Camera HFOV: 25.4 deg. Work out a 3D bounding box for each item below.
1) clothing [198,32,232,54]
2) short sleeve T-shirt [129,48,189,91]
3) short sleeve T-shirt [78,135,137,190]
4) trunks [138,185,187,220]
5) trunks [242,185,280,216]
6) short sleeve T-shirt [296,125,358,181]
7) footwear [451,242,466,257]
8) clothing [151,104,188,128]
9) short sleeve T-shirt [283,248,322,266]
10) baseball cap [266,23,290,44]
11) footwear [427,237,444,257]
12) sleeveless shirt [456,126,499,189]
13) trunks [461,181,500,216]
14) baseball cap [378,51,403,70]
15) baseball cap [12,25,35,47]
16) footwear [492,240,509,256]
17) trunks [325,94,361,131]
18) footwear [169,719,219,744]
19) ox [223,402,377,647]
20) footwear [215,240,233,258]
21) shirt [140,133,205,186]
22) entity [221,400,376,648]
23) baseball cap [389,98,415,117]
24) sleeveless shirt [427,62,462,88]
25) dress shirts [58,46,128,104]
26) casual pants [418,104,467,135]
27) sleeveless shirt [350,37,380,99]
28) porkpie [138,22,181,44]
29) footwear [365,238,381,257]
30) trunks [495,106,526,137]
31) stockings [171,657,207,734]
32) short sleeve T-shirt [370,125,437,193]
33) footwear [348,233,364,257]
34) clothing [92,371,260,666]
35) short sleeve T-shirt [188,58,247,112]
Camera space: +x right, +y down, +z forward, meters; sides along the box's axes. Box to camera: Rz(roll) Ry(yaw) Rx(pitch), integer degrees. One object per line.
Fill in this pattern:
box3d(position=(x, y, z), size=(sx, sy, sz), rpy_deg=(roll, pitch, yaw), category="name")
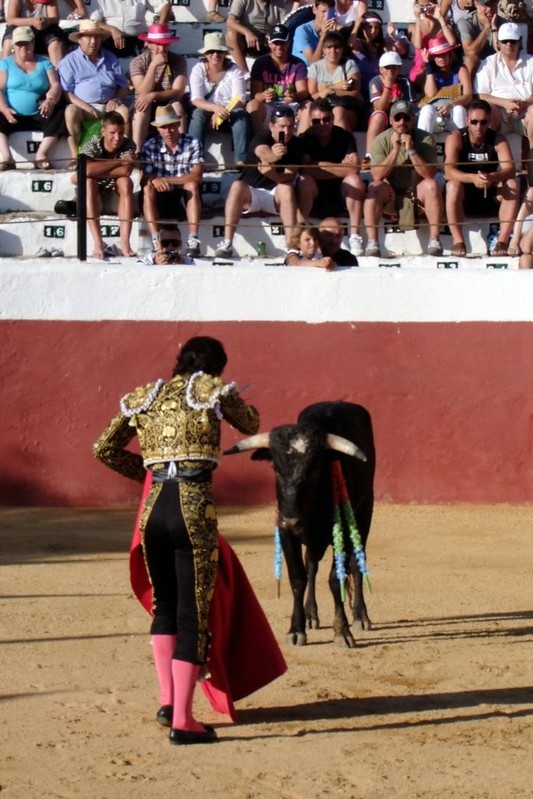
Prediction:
box3d(position=(-0.503, -3.428, 11.309), size=(0.282, 0.166, 0.306), rpy_deg=(1, 1, 6), category="clothing")
box3d(position=(-1.042, -3.172, 11.445), size=(0.598, 0.572, 0.283), rpy_deg=(3, 31, -3), category="short sleeve T-shirt")
box3d(position=(-1.310, -1.992, 9.929), size=(0.470, 0.470, 0.461), rpy_deg=(0, 2, -4), category="short sleeve T-shirt")
box3d(position=(-0.856, -1.649, 9.869), size=(0.300, 0.295, 0.107), rpy_deg=(0, 31, -1), category="trunks")
box3d(position=(-0.032, -1.694, 10.134), size=(0.256, 0.254, 0.105), rpy_deg=(-2, 51, -4), category="trunks")
box3d(position=(0.509, -2.077, 10.064), size=(0.562, 0.525, 0.297), rpy_deg=(0, -5, -9), category="short sleeve T-shirt")
box3d(position=(1.640, -1.290, 10.125), size=(0.128, 0.132, 0.180), rpy_deg=(3, 8, 6), category="footwear")
box3d(position=(-0.845, -2.397, 10.040), size=(0.197, 0.215, 0.334), rpy_deg=(0, 8, -12), category="clothing")
box3d(position=(0.288, -1.112, 9.305), size=(0.287, 0.124, 0.341), rpy_deg=(2, 8, 2), category="short sleeve T-shirt")
box3d(position=(0.114, -3.484, 11.296), size=(0.249, 0.179, 0.403), rpy_deg=(0, 14, -3), category="baseball cap")
box3d(position=(1.433, -1.294, 10.084), size=(0.127, 0.150, 0.205), rpy_deg=(3, 8, 8), category="footwear")
box3d(position=(1.800, -2.117, 10.077), size=(0.344, 0.388, 0.390), rpy_deg=(3, 8, 11), category="sleeveless shirt")
box3d(position=(1.856, -1.732, 10.305), size=(0.256, 0.254, 0.093), rpy_deg=(-2, 12, -3), category="trunks")
box3d(position=(1.155, -3.181, 11.114), size=(0.172, 0.121, 0.234), rpy_deg=(-1, -7, 4), category="baseball cap")
box3d(position=(-2.306, -3.450, 11.259), size=(0.165, 0.122, 0.234), rpy_deg=(-3, 1, -2), category="baseball cap")
box3d(position=(1.990, -1.285, 10.074), size=(0.110, 0.104, 0.131), rpy_deg=(1, -9, 10), category="footwear")
box3d(position=(0.721, -2.676, 11.159), size=(0.320, 0.412, 0.194), rpy_deg=(0, 5, -24), category="trunks")
box3d(position=(-0.258, 1.183, 4.275), size=(0.149, 0.052, 0.080), rpy_deg=(-1, -1, -22), category="footwear")
box3d(position=(0.302, 0.632, 5.752), size=(0.617, 1.044, 1.548), rpy_deg=(1, 0, 12), category="ox")
box3d(position=(-0.357, -1.236, 9.723), size=(0.082, 0.095, 0.208), rpy_deg=(3, 1, 4), category="footwear")
box3d(position=(-0.778, -2.019, 10.072), size=(0.617, 0.592, 0.333), rpy_deg=(0, -6, -1), category="shirt")
box3d(position=(0.265, 0.617, 5.797), size=(0.647, 1.070, 1.580), rpy_deg=(2, 3, 12), category="entity")
box3d(position=(1.157, -2.485, 10.137), size=(0.184, 0.167, 0.316), rpy_deg=(2, 8, 4), category="baseball cap")
box3d(position=(1.752, -3.209, 11.753), size=(0.323, 0.302, 0.177), rpy_deg=(-3, 0, -9), category="sleeveless shirt")
box3d(position=(-1.648, -3.114, 11.402), size=(0.695, 0.559, 0.358), rpy_deg=(-2, 3, -18), category="dress shirts")
box3d(position=(1.653, -2.624, 11.112), size=(0.461, 0.195, 0.460), rpy_deg=(0, -10, 7), category="casual pants")
box3d(position=(0.991, -3.314, 11.769), size=(0.209, 0.719, 0.392), rpy_deg=(0, -8, 9), category="sleeveless shirt")
box3d(position=(-1.101, -3.710, 12.028), size=(0.516, 0.211, 0.574), rpy_deg=(-2, 21, -5), category="porkpie")
box3d(position=(0.897, -1.278, 10.015), size=(0.122, 0.137, 0.142), rpy_deg=(1, 8, -2), category="footwear")
box3d(position=(2.300, -2.591, 11.166), size=(0.327, 0.328, 0.130), rpy_deg=(-2, 37, 5), category="trunks")
box3d(position=(-0.278, 1.042, 4.239), size=(0.116, 0.296, 0.193), rpy_deg=(1, 8, -3), category="stockings")
box3d(position=(1.173, -2.030, 10.234), size=(0.528, 0.638, 0.383), rpy_deg=(-1, 27, -1), category="short sleeve T-shirt")
box3d(position=(0.754, -1.306, 10.004), size=(0.086, 0.103, 0.241), rpy_deg=(-1, 32, -7), category="footwear")
box3d(position=(-0.339, 0.399, 4.387), size=(0.567, 1.022, 0.379), rpy_deg=(9, 11, 41), category="clothing")
box3d(position=(-0.454, -2.939, 11.204), size=(0.548, 0.518, 0.322), rpy_deg=(3, 0, 15), category="short sleeve T-shirt")
